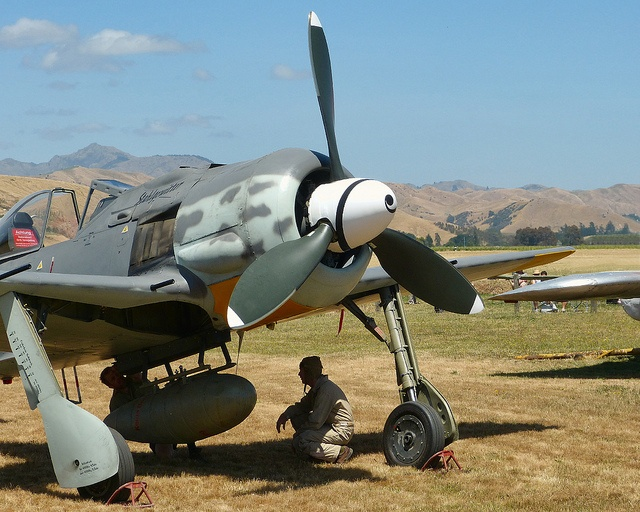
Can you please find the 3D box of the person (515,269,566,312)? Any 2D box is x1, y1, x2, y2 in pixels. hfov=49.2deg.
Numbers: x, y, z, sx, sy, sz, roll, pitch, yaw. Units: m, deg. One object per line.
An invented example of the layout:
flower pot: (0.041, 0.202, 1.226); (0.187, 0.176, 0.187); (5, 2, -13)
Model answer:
person: (7.618, 1.277, 24.297); (1.490, 0.877, 2.326); (1, 1, 31)

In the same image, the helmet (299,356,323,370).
helmet: (-0.146, 1.633, 10.743); (0.306, 0.202, 0.216); (-12, 0, 15)

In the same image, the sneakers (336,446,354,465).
sneakers: (0.362, 2.933, 10.263); (0.155, 0.337, 0.115); (39, 1, -11)
